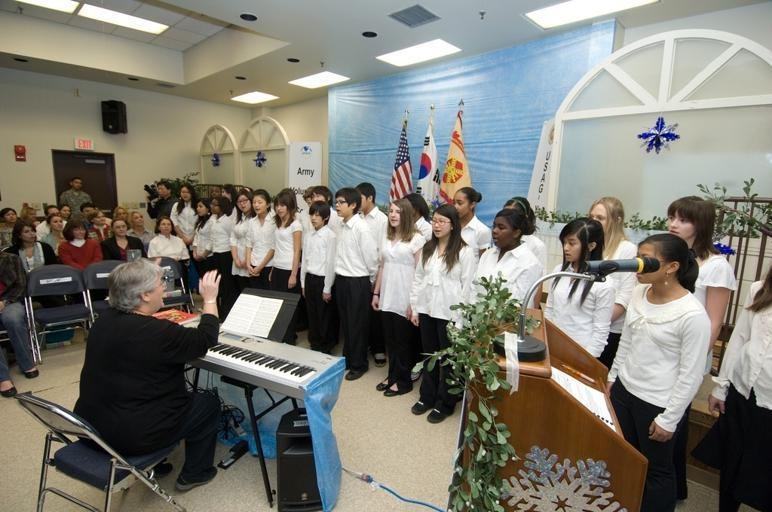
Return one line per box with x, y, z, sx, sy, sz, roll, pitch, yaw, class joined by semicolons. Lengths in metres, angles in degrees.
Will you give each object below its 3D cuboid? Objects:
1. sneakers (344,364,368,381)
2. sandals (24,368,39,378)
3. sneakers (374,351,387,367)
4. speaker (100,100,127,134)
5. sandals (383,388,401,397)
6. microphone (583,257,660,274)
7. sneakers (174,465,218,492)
-0.356;1.354;5.375;0.099;0.112;0.275;-2;-6;32;sneakers
-4.046;1.331;5.258;0.129;0.088;0.107;-5;10;-33;sandals
-0.070;1.271;5.717;0.158;0.156;0.120;-2;4;3;sneakers
-5.706;-2.892;9.617;0.524;0.673;0.299;5;10;28;speaker
0.078;1.482;5.077;0.194;0.077;0.075;4;-7;-30;sandals
1.586;0.058;3.091;0.407;0.133;0.112;-4;0;-7;microphone
-1.651;1.934;4.048;0.141;0.164;0.340;5;8;44;sneakers
